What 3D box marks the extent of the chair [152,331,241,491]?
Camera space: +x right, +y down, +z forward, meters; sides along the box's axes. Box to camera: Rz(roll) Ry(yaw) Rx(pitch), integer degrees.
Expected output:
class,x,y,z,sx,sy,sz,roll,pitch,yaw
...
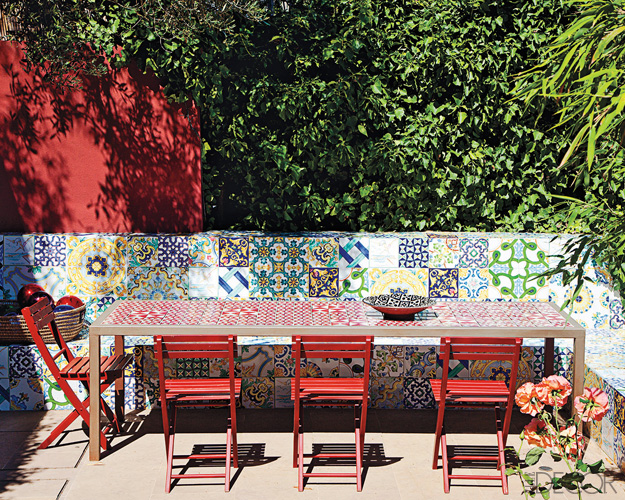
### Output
class,x,y,z,sx,sy,sz,roll,pitch,yaw
chair,-0.906,1.236,6.056,0.693,1.229,0.813,-7,19,-9
